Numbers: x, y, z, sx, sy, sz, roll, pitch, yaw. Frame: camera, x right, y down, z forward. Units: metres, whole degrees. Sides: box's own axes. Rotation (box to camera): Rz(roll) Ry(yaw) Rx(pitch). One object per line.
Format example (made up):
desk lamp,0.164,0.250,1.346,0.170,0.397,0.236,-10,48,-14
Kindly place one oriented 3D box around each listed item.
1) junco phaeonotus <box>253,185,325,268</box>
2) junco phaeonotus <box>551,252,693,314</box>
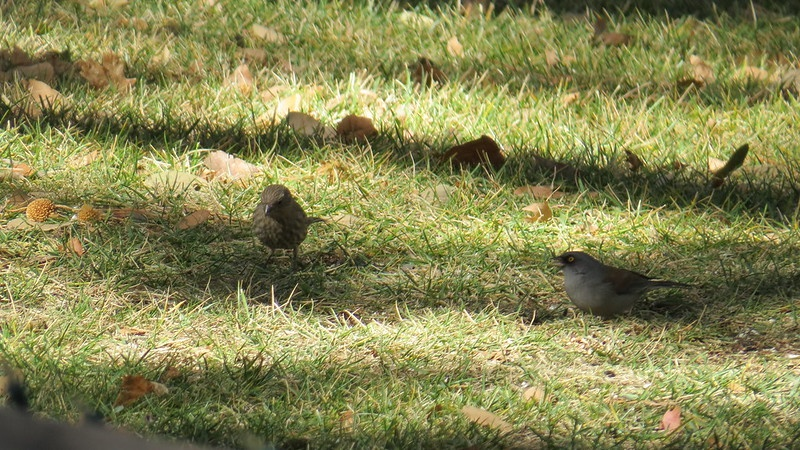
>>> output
junco phaeonotus,-0.798,-0.007,5.211,0.410,0.531,0.692,4,10,14
junco phaeonotus,1.394,0.418,4.853,1.164,0.423,0.359,6,-2,-23
